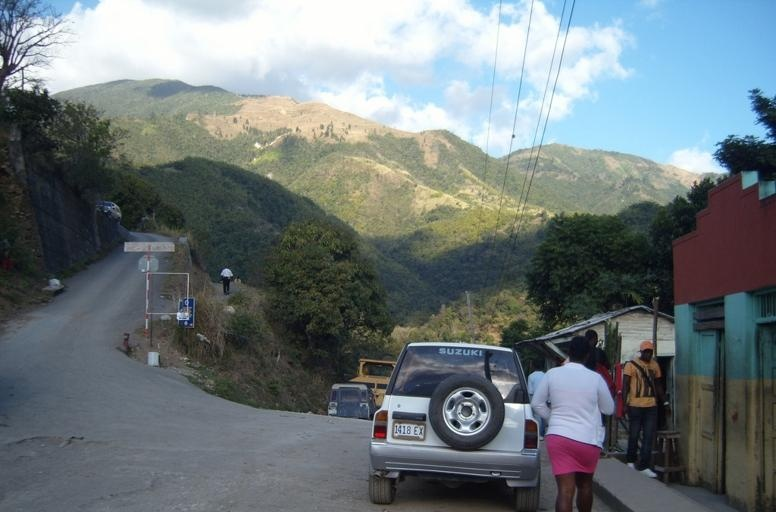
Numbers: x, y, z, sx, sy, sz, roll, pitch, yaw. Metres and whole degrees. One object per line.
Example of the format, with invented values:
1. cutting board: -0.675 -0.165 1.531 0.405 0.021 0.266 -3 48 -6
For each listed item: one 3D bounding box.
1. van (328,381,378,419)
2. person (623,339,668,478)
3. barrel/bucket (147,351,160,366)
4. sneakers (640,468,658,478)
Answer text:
1. van: -1.603 6.597 31.436 1.333 1.181 2.042 2 -5 6
2. person: 6.118 3.668 16.556 0.924 3.135 0.906 4 6 22
3. barrel/bucket: -8.990 3.965 26.322 0.501 0.601 0.516 2 -3 0
4. sneakers: 6.184 5.154 16.230 0.150 0.141 0.305 8 -9 -34
